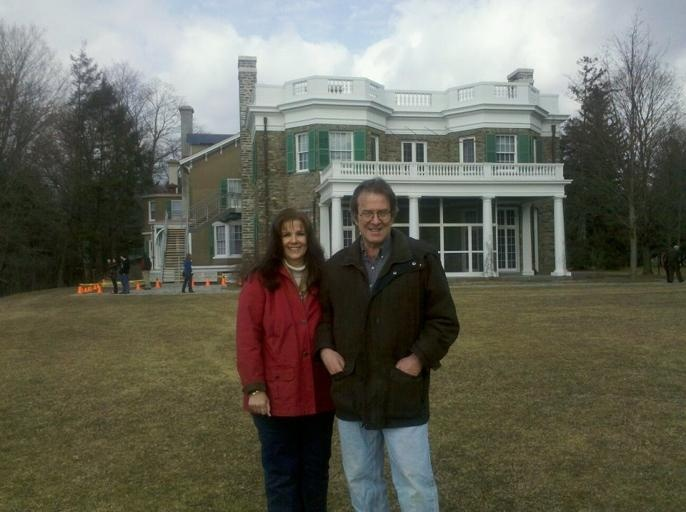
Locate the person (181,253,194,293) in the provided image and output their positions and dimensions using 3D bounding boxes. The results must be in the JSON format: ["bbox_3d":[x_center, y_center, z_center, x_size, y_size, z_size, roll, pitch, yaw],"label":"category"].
[{"bbox_3d":[-5.748,0.618,24.274,0.381,1.396,2.390,0,-1,-14],"label":"person"}]
